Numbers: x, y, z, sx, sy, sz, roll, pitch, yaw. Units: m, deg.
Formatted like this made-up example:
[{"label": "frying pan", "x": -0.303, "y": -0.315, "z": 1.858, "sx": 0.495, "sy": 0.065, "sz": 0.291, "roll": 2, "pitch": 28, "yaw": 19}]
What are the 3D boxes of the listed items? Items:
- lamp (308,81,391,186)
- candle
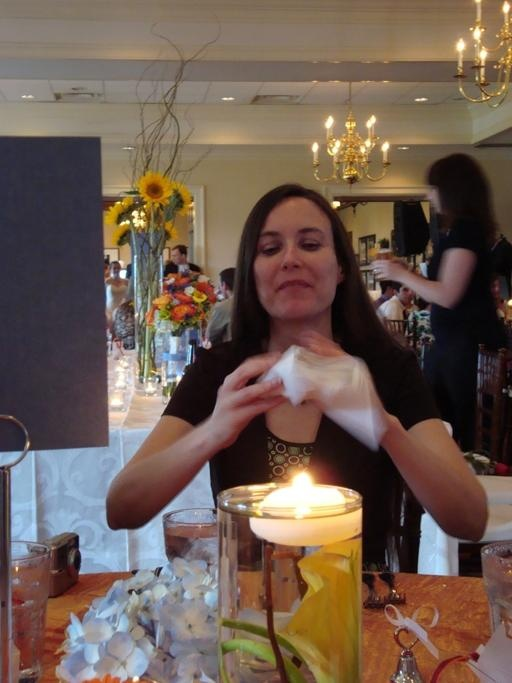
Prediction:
[{"label": "lamp", "x": 1.130, "y": -2.549, "z": 6.695, "sx": 0.865, "sy": 1.326, "sz": 0.881, "roll": -7, "pitch": 8, "yaw": -40}, {"label": "candle", "x": 0.028, "y": 0.084, "z": 0.290, "sx": 0.050, "sy": 0.018, "sz": 0.082, "roll": -1, "pitch": 0, "yaw": 13}]
